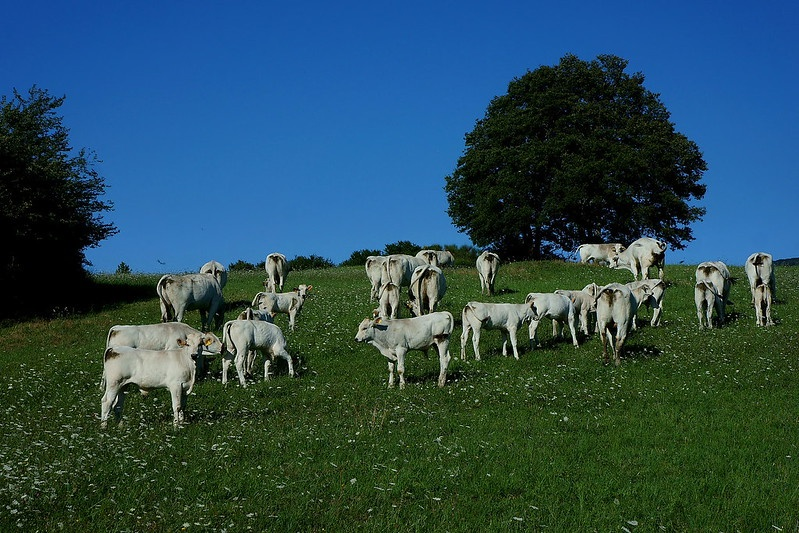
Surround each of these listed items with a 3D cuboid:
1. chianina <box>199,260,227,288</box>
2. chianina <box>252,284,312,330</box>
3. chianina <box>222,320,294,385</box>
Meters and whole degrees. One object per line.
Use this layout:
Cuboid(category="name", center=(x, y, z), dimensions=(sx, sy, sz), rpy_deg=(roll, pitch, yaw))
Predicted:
Cuboid(category="chianina", center=(-9.316, 0.443, 34.687), dimensions=(1.151, 1.640, 2.438), rpy_deg=(2, 5, -9))
Cuboid(category="chianina", center=(-5.702, 2.079, 34.047), dimensions=(2.953, 2.157, 1.122), rpy_deg=(-2, -3, -30))
Cuboid(category="chianina", center=(-5.607, 3.266, 26.941), dimensions=(2.519, 2.492, 1.852), rpy_deg=(-4, 12, -23))
